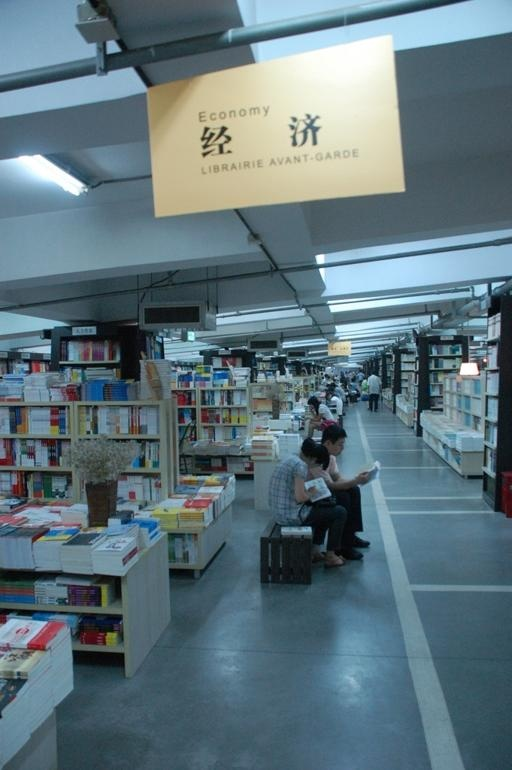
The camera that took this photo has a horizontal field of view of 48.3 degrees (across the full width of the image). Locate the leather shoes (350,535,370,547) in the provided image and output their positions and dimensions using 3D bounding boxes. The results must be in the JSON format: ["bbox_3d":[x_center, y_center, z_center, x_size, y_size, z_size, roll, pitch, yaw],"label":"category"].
[{"bbox_3d":[0.967,1.487,5.450,0.080,0.100,0.239,1,-6,-28],"label":"leather shoes"}]

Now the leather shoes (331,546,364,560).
[{"bbox_3d":[0.826,1.503,5.125,0.258,0.113,0.092,-2,-3,9],"label":"leather shoes"}]

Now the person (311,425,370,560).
[{"bbox_3d":[0.740,0.957,5.204,0.527,1.188,0.493,15,19,42],"label":"person"}]

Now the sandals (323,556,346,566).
[{"bbox_3d":[0.671,1.525,4.986,0.147,0.098,0.081,-3,-2,-7],"label":"sandals"}]
